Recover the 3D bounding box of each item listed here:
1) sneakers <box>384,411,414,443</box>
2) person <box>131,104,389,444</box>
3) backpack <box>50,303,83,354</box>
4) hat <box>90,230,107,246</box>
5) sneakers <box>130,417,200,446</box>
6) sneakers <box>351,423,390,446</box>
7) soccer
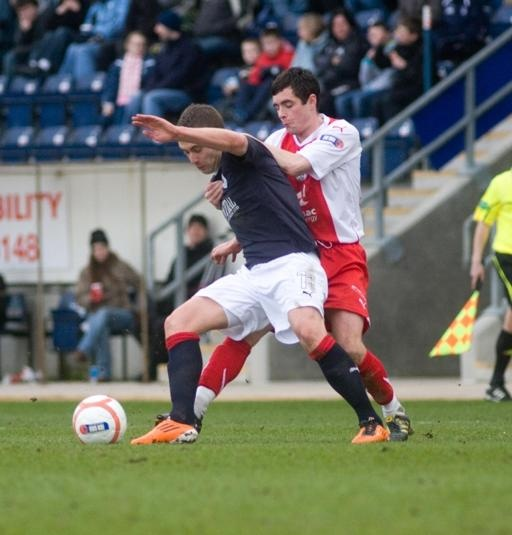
[{"bbox_3d":[0.725,0.857,6.906,0.068,0.133,0.193,-12,-17,-2],"label":"sneakers"},{"bbox_3d":[-0.042,0.041,6.851,1.200,1.240,0.644,-1,0,-6],"label":"person"},{"bbox_3d":[-1.105,0.377,7.827,0.274,0.316,0.217,0,-5,-4],"label":"backpack"},{"bbox_3d":[-1.041,-0.178,8.804,0.088,0.090,0.133,-1,-17,-2],"label":"hat"},{"bbox_3d":[-0.468,0.859,6.807,0.342,0.156,0.126,-1,-11,-9],"label":"sneakers"},{"bbox_3d":[0.564,0.858,6.714,0.188,0.066,0.232,-1,0,1],"label":"sneakers"},{"bbox_3d":[-0.802,0.784,6.844,0.242,0.248,0.238,1,0,3],"label":"soccer"}]
